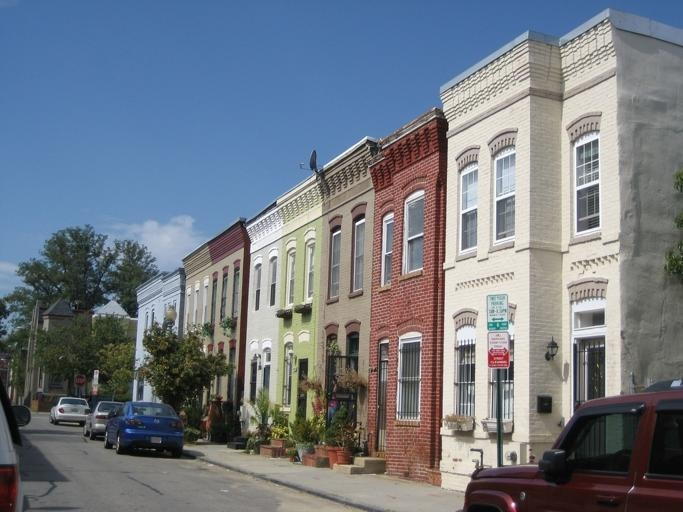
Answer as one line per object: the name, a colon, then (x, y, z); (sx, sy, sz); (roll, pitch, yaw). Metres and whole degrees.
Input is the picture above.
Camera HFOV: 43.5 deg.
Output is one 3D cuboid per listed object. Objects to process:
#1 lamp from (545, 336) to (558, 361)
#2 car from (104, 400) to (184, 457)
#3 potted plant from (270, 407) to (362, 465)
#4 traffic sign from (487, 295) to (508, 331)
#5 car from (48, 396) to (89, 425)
lamp: (4.475, 2.001, 18.165); (0.312, 0.385, 0.272); (1, -16, 1)
car: (-5.918, 4.975, 24.993); (2.423, 1.566, 1.423); (-8, -19, 27)
potted plant: (-0.489, 5.153, 24.228); (1.811, 1.089, 1.485); (-4, -7, 8)
traffic sign: (2.789, 1.020, 15.366); (0.487, 0.795, 0.077); (-10, -18, 44)
car: (-14.236, 8.034, 44.587); (1.153, 1.007, 2.807); (3, -5, -21)
